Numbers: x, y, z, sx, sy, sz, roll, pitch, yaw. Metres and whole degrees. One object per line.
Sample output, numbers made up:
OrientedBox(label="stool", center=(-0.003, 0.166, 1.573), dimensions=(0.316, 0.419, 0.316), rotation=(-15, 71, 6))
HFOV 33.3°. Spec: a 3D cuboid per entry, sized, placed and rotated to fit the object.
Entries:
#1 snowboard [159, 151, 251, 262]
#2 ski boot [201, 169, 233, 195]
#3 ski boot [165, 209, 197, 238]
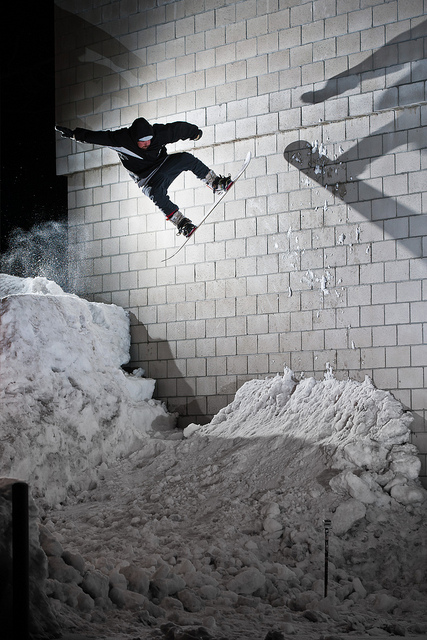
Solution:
OrientedBox(label="snowboard", center=(-0.041, -1.212, 7.446), dimensions=(0.123, 1.436, 0.150), rotation=(29, 21, -17))
OrientedBox(label="ski boot", center=(0.045, -1.390, 7.189), dimensions=(0.197, 0.148, 0.432), rotation=(21, 7, -43))
OrientedBox(label="ski boot", center=(-0.336, -1.007, 7.314), dimensions=(0.206, 0.150, 0.454), rotation=(21, 21, -47))
